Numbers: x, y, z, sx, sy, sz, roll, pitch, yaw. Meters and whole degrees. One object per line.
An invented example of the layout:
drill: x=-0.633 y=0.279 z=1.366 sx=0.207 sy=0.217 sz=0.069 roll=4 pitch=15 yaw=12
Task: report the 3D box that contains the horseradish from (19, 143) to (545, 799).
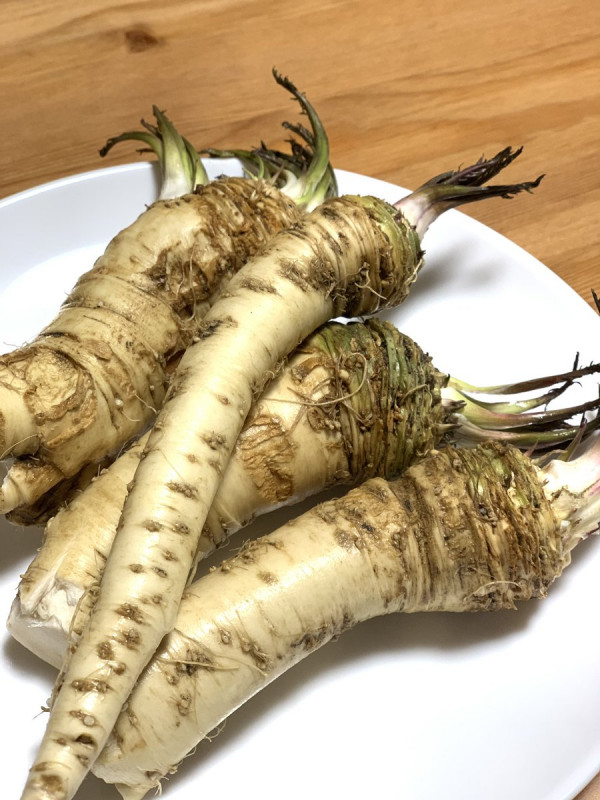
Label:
horseradish: x=-0.244 y=0.130 z=1.754 sx=1.026 sy=0.907 sz=1.158 roll=-34 pitch=46 yaw=-31
